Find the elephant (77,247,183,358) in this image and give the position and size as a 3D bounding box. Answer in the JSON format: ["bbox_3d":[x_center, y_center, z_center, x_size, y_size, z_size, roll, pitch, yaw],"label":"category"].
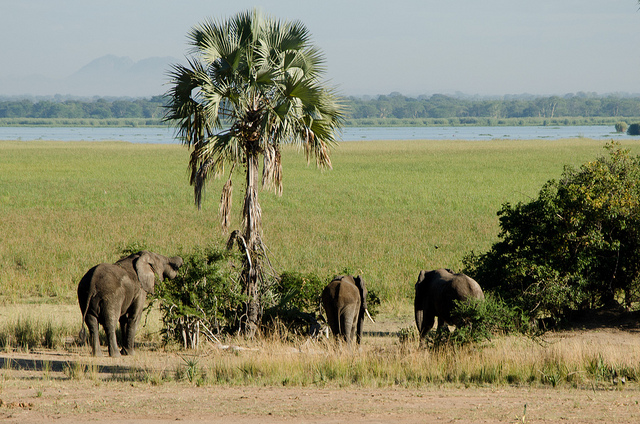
[{"bbox_3d":[-8.185,3.861,52.971,1.880,4.640,5.332,6,7,35],"label":"elephant"}]

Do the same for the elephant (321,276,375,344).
[{"bbox_3d":[1.166,4.277,54.089,1.876,3.050,4.186,-1,1,9],"label":"elephant"}]

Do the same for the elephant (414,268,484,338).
[{"bbox_3d":[5.321,4.094,53.341,1.901,3.179,4.772,2,4,-26],"label":"elephant"}]
